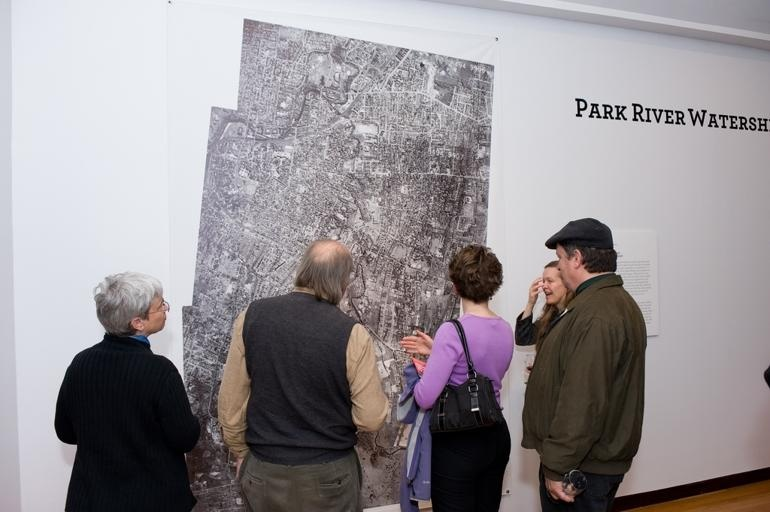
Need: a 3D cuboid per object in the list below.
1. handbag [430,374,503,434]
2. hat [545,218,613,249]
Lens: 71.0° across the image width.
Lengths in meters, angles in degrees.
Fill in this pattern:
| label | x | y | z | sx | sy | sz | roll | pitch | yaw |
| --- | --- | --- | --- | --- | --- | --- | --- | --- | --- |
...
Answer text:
| label | x | y | z | sx | sy | sz | roll | pitch | yaw |
| --- | --- | --- | --- | --- | --- | --- | --- | --- | --- |
| handbag | 0.443 | 0.837 | 3.048 | 0.296 | 0.265 | 0.137 | -8 | -14 | 17 |
| hat | 1.178 | -0.128 | 3.203 | 0.289 | 0.153 | 0.220 | 7 | 1 | 15 |
